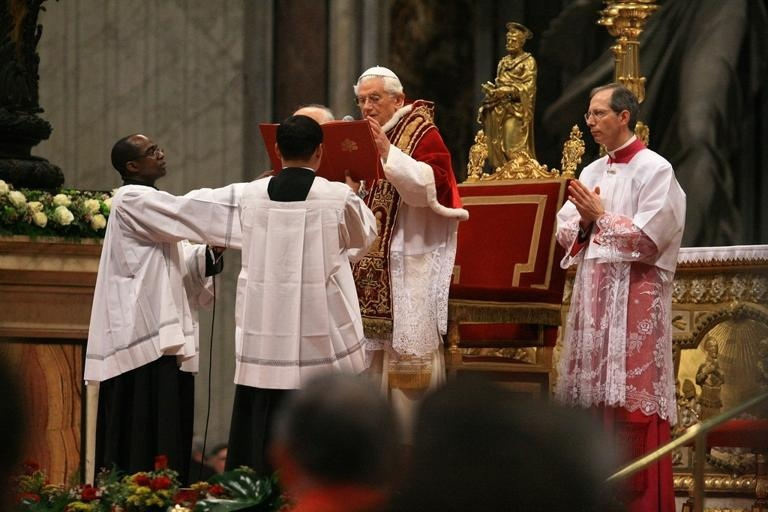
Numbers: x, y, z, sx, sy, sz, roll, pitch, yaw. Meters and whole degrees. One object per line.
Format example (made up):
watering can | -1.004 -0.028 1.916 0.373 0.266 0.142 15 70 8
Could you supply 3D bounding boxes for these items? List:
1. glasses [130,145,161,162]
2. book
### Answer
glasses | -1.651 -0.722 11.180 0.134 0.039 0.130 -29 -6 14
book | -0.248 -0.686 11.041 0.763 0.454 0.188 2 39 13
